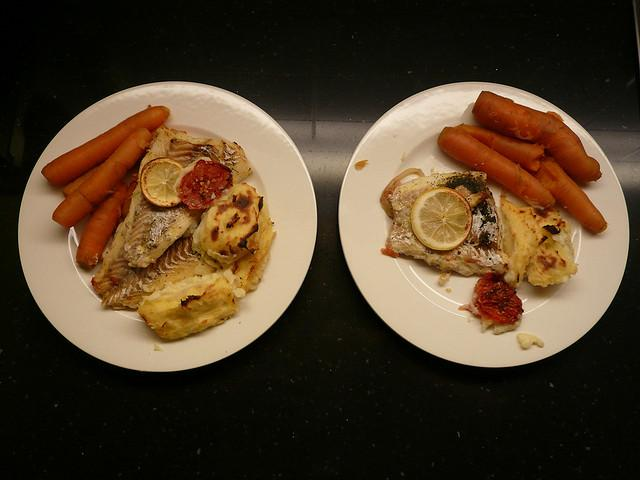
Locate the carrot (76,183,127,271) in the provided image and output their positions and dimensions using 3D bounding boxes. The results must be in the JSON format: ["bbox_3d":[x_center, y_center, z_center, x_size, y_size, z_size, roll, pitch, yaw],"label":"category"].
[{"bbox_3d":[-1.546,-0.087,3.875,0.175,0.199,0.714,21,78,0],"label":"carrot"}]

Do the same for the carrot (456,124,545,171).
[{"bbox_3d":[1.319,-0.675,3.871,0.423,0.114,0.135,30,106,6],"label":"carrot"}]
